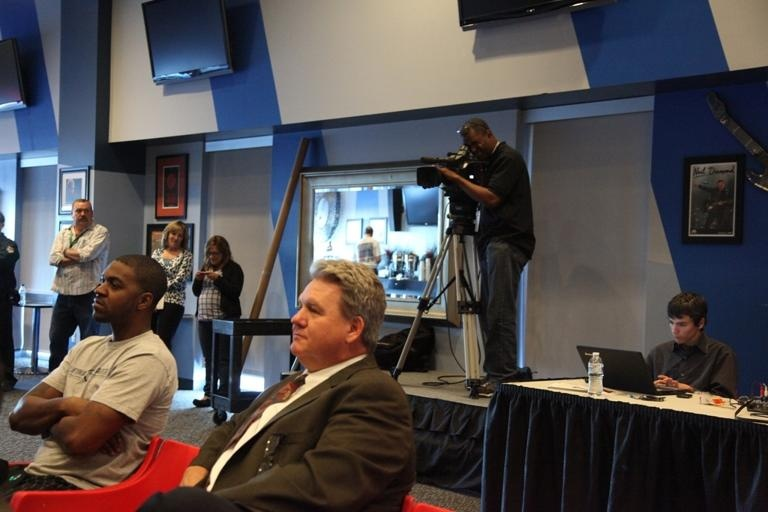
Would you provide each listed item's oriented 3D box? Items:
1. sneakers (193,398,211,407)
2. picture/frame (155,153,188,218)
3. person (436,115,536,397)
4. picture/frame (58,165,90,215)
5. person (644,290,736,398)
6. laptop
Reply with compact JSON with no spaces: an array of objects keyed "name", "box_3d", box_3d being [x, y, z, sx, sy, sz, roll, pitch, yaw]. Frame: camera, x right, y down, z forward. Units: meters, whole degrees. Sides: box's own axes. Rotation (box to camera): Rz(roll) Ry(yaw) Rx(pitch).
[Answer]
[{"name":"sneakers","box_3d":[-1.870,1.506,6.314,0.146,0.064,0.086,3,-1,-35]},{"name":"picture/frame","box_3d":[-2.690,-0.913,7.866,0.799,1.157,0.049,-1,-2,36]},{"name":"person","box_3d":[0.862,-0.009,4.882,0.634,2.169,0.527,1,-1,14]},{"name":"picture/frame","box_3d":[-3.836,-0.861,7.657,0.702,0.737,0.051,-1,-1,42]},{"name":"person","box_3d":[2.100,0.660,4.278,0.429,0.717,0.724,7,-6,-20]},{"name":"laptop","box_3d":[1.441,0.683,3.660,0.311,0.215,0.342,-3,-1,-34]}]
